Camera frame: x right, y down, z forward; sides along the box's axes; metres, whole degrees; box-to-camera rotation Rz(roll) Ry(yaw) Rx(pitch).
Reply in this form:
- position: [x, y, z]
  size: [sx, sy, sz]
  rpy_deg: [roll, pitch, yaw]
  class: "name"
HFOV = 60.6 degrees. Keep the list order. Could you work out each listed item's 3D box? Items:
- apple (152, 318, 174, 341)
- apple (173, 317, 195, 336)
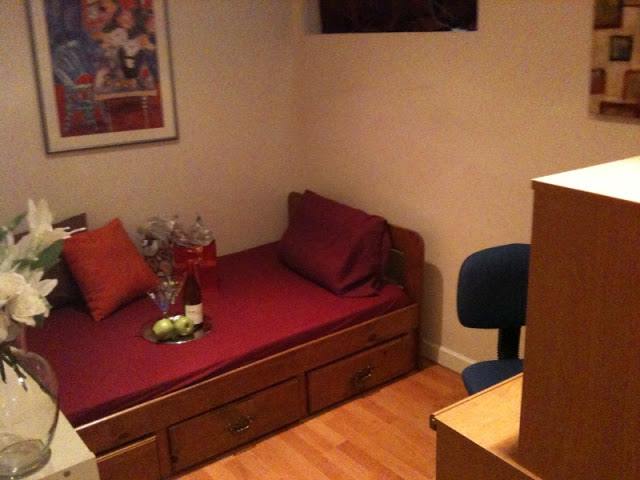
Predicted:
- position: [-0.717, 0.401, 2.490]
  size: [0.106, 0.074, 0.102]
  rpy_deg: [-4, 18, -3]
  class: "apple"
- position: [-0.625, 0.394, 2.543]
  size: [0.081, 0.082, 0.083]
  rpy_deg: [-21, 50, 9]
  class: "apple"
